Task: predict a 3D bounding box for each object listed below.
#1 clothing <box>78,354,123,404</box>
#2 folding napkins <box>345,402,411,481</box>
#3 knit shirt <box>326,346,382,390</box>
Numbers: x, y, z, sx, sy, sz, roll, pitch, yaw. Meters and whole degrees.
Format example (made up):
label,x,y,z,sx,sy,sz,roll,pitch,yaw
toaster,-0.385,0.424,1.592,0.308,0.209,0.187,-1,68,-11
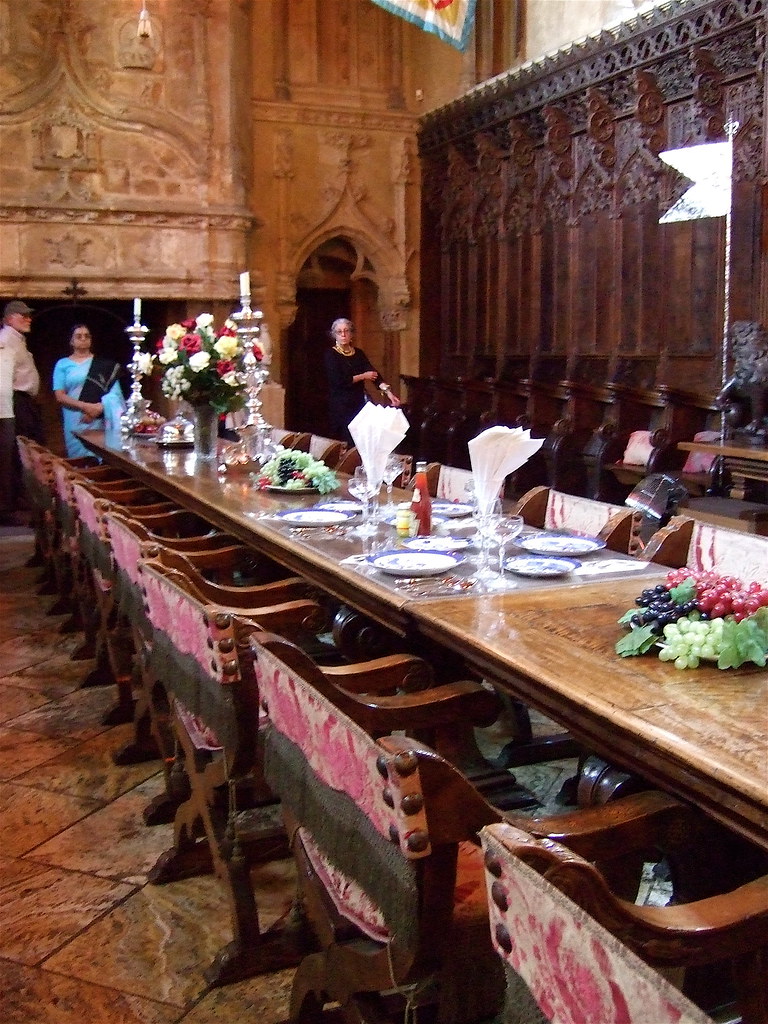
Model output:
label,x,y,z,sx,sy,sz,roll,pitch,yaw
clothing,-2.677,-1.240,7.669,0.363,0.459,0.141,32,10,1
folding napkins,-0.024,-0.252,2.994,0.247,0.347,0.311,6,9,20
knit shirt,-0.326,-1.513,8.464,0.392,0.310,0.505,-4,8,-27
